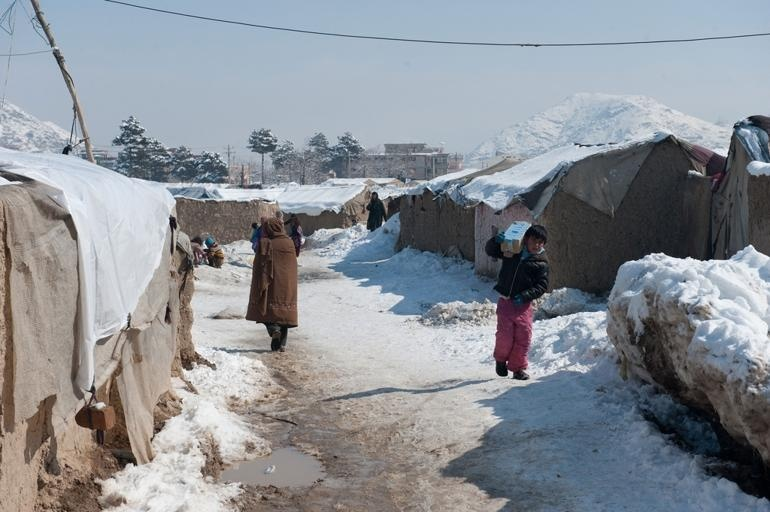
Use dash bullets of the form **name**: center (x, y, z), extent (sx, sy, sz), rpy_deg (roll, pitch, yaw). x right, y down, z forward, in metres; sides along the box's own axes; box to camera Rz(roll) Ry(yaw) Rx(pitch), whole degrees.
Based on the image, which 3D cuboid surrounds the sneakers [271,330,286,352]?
- **sneakers**: center (-1.410, 1.119, 11.284), extent (0.133, 0.390, 0.164), rpy_deg (2, 49, -9)

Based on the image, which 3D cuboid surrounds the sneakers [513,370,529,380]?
- **sneakers**: center (1.575, 1.369, 9.726), extent (0.088, 0.074, 0.165), rpy_deg (2, -10, -29)

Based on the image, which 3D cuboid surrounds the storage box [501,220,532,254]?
- **storage box**: center (1.521, -0.263, 9.769), extent (0.152, 0.239, 0.429), rpy_deg (17, 32, 13)

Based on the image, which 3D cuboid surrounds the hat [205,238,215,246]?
- **hat**: center (-4.112, -0.348, 20.003), extent (0.228, 0.175, 0.246), rpy_deg (-1, 1, -20)

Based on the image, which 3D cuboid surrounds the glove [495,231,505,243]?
- **glove**: center (1.343, -0.244, 9.806), extent (0.085, 0.116, 0.041), rpy_deg (11, -26, 12)

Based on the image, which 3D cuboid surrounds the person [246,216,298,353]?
- **person**: center (-1.488, 0.418, 11.227), extent (0.631, 1.799, 0.755), rpy_deg (-3, 11, 5)

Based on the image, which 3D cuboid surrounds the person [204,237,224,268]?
- **person**: center (-4.003, -0.086, 19.867), extent (0.403, 0.691, 1.181), rpy_deg (-6, 11, -12)

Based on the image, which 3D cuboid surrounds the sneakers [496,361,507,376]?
- **sneakers**: center (1.352, 1.309, 9.868), extent (0.165, 0.176, 0.157), rpy_deg (-1, -2, 0)

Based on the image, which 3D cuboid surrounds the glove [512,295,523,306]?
- **glove**: center (1.509, 0.486, 9.582), extent (0.093, 0.089, 0.096), rpy_deg (2, -1, -6)

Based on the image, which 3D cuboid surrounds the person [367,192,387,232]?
- **person**: center (-0.253, -1.447, 28.742), extent (0.780, 1.499, 0.503), rpy_deg (2, -20, 2)

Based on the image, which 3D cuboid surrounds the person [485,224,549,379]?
- **person**: center (1.536, 0.563, 9.740), extent (0.685, 1.837, 0.551), rpy_deg (-2, 11, 7)
